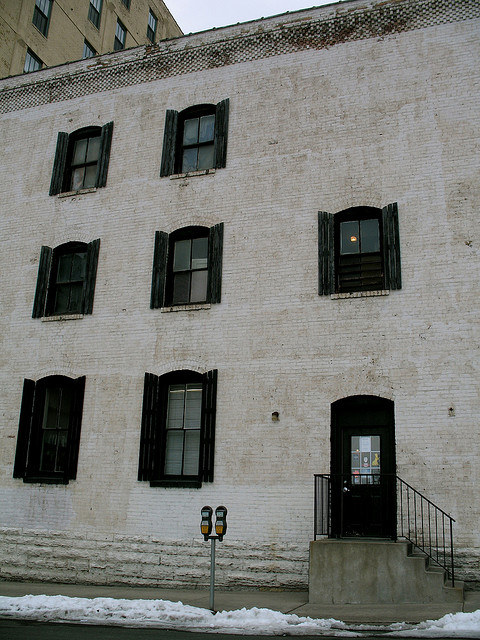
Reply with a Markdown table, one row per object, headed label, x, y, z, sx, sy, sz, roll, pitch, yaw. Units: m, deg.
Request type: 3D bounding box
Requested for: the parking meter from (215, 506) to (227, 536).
| label | x | y | z | sx | sy | sz | roll | pitch | yaw |
| --- | --- | --- | --- | --- | --- | --- | --- | --- | --- |
| parking meter | -0.276 | 2.791 | 10.229 | 0.142 | 0.396 | 0.249 | -1 | -12 | -3 |
